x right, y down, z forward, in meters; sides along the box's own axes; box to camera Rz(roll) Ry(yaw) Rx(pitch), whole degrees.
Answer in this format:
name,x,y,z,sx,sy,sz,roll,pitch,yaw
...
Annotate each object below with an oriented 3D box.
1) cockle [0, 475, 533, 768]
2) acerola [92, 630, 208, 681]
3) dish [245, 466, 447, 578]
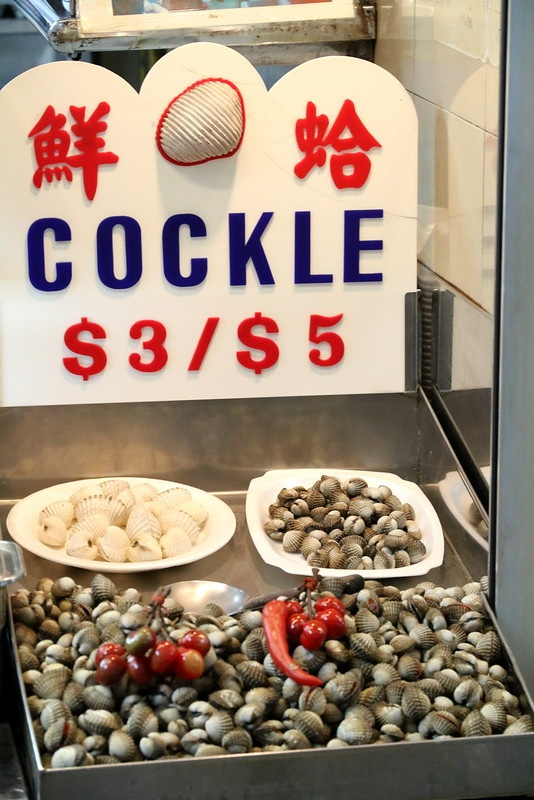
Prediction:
name,x,y,z,sx,sy,sz,roll,pitch,yaw
cockle,0.003,0.195,0.646,0.464,0.105,0.342,-7,13,-14
acerola,-0.092,0.184,0.551,0.080,0.027,0.044,-4,-12,-12
dish,0.098,0.125,0.954,0.219,0.037,0.239,-1,1,-3
